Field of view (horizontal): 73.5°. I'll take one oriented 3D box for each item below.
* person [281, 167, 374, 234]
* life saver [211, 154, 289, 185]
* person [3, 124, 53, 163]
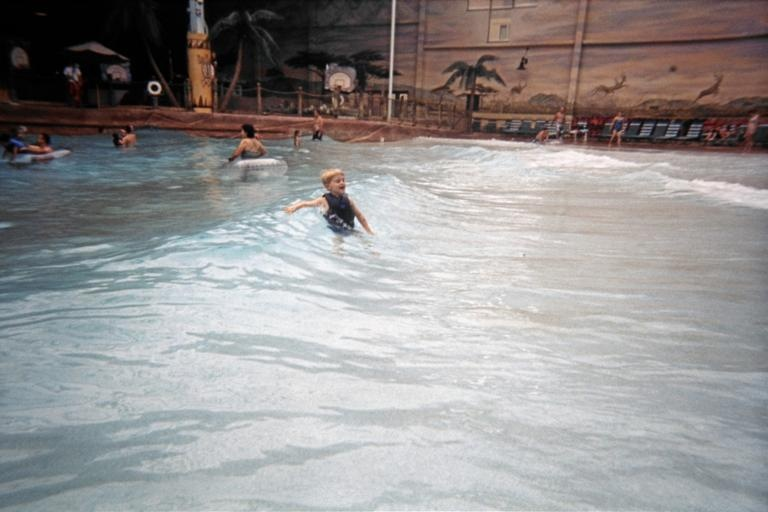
[{"bbox_3d":[-0.645,-0.644,6.253,1.065,0.844,0.469,1,21,-4],"label":"person"},{"bbox_3d":[-2.725,-1.766,10.408,1.473,0.321,1.956,-1,15,-9],"label":"life saver"},{"bbox_3d":[-7.771,-2.241,11.189,0.897,0.498,1.932,4,-9,-32],"label":"person"}]
